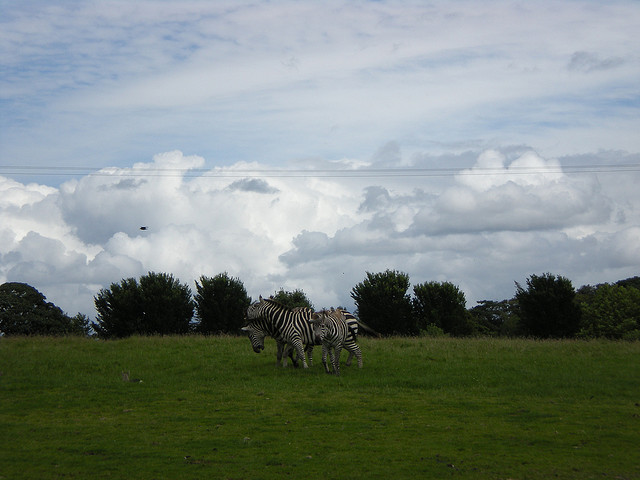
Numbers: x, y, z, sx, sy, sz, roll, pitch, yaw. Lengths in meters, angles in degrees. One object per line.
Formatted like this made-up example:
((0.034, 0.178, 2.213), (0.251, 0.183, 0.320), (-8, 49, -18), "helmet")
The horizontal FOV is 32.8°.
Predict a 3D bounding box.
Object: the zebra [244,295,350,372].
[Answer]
((-0.417, 4.702, 62.138), (6.584, 5.755, 6.420), (-2, -2, 27), "zebra")

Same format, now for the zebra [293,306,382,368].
((0.762, 5.596, 60.789), (2.846, 6.274, 7.861), (2, -4, -21), "zebra")
